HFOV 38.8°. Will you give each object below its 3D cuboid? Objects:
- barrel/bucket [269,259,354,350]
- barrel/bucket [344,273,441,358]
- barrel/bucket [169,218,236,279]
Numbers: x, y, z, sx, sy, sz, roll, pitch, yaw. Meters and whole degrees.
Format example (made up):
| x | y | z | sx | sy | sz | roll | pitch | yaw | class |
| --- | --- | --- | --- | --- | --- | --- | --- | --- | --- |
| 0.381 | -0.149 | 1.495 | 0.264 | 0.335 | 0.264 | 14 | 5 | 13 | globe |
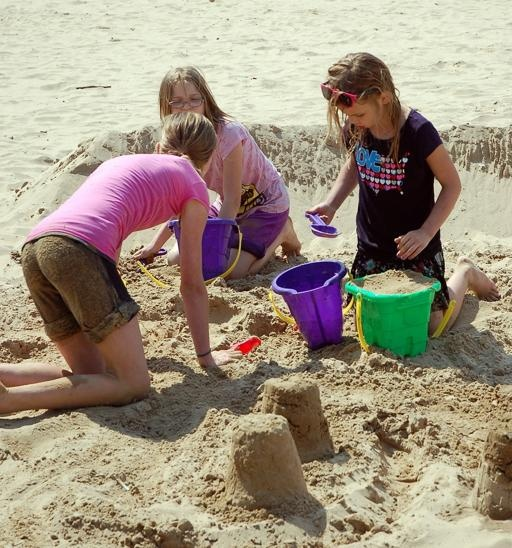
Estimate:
| x | y | z | sx | sy | sz | roll | pitch | yaw | class |
| --- | --- | --- | --- | --- | --- | --- | --- | --- | --- |
| 0.268 | 0.156 | 3.420 | 0.351 | 0.400 | 0.316 | -9 | 21 | -2 | barrel/bucket |
| 0.589 | 0.156 | 3.270 | 0.484 | 0.301 | 0.403 | -6 | 9 | -27 | barrel/bucket |
| -0.283 | -0.125 | 4.037 | 0.456 | 0.269 | 0.376 | 0 | -1 | -21 | barrel/bucket |
